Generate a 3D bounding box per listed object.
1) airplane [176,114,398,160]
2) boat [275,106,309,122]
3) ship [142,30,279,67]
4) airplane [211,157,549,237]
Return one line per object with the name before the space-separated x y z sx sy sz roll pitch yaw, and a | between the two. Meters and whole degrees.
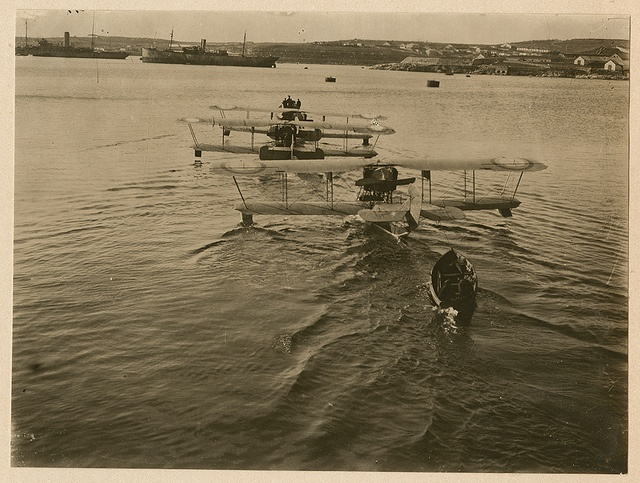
airplane | -2.848 -8.556 69.673 17.252 3.852 7.619 0 15 -3
boat | -2.254 -10.528 70.111 2.685 0.734 2.445 3 14 4
ship | -12.074 -21.504 94.683 15.073 3.448 1.911 3 20 -2
airplane | 3.735 -2.431 50.579 23.671 4.877 7.085 0 15 -10
